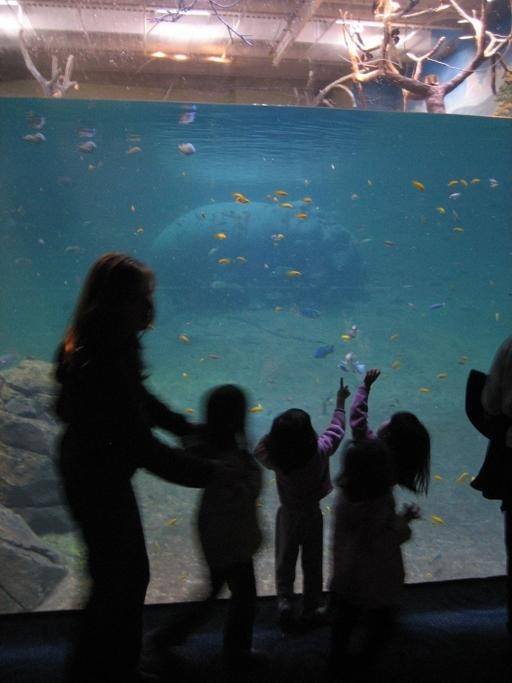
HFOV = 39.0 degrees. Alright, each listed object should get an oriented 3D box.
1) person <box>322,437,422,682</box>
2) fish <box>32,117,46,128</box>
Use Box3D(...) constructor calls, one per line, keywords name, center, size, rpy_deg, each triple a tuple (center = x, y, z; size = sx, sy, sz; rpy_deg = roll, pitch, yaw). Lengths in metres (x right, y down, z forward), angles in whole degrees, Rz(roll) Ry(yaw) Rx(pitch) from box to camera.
Box3D(name="person", center=(0.782, 1.437, 4.873), size=(0.557, 1.524, 0.503), rpy_deg=(3, 3, 7))
Box3D(name="fish", center=(-2.947, -2.986, 9.809), size=(0.174, 0.142, 0.036), rpy_deg=(-24, 21, -23))
